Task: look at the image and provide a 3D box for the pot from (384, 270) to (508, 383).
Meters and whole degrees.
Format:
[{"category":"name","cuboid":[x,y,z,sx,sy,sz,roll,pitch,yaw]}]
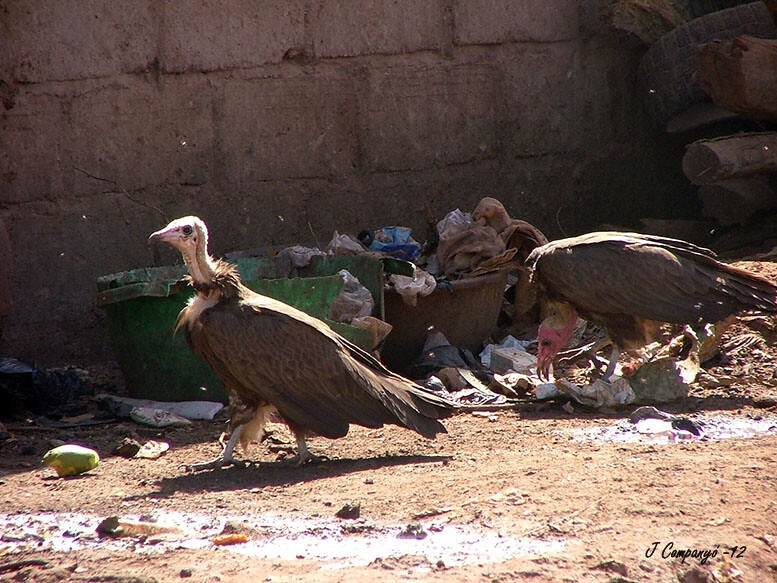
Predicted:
[{"category":"pot","cuboid":[0.389,0.322,11.868,1.259,0.596,1.115,-5,5,-26]}]
